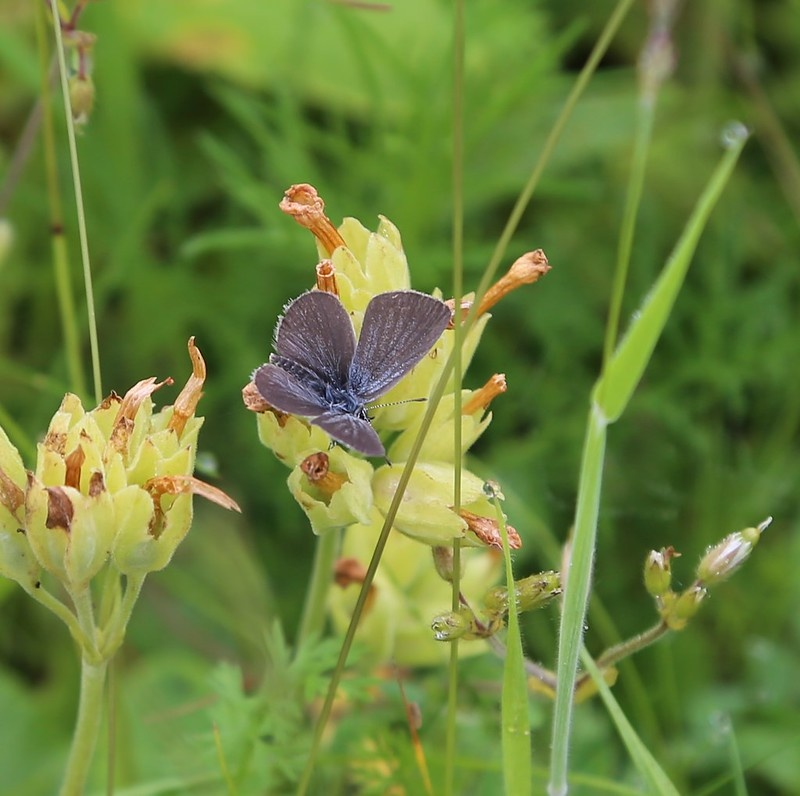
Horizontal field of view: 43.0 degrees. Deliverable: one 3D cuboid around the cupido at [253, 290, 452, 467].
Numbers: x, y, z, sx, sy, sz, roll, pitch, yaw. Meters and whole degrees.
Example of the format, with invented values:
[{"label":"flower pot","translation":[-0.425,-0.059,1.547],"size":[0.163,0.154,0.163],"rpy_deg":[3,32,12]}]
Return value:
[{"label":"cupido","translation":[-0.067,0.000,1.129],"size":[0.169,0.136,0.232],"rpy_deg":[-26,-22,31]}]
